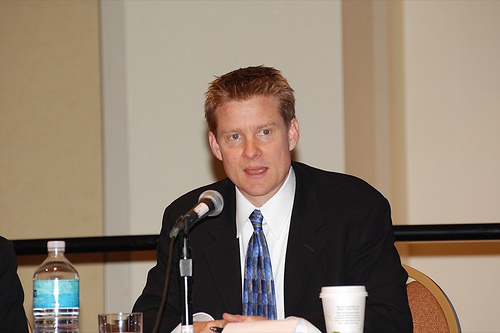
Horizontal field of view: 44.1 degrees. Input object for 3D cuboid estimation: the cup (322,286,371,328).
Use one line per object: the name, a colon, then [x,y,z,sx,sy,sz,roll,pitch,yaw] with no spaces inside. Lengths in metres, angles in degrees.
cup: [0.492,0.729,3.246,0.204,0.165,0.211,-1,-7,0]

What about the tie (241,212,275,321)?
tie: [0.036,0.622,3.923,0.215,0.691,0.170,-4,-14,0]
